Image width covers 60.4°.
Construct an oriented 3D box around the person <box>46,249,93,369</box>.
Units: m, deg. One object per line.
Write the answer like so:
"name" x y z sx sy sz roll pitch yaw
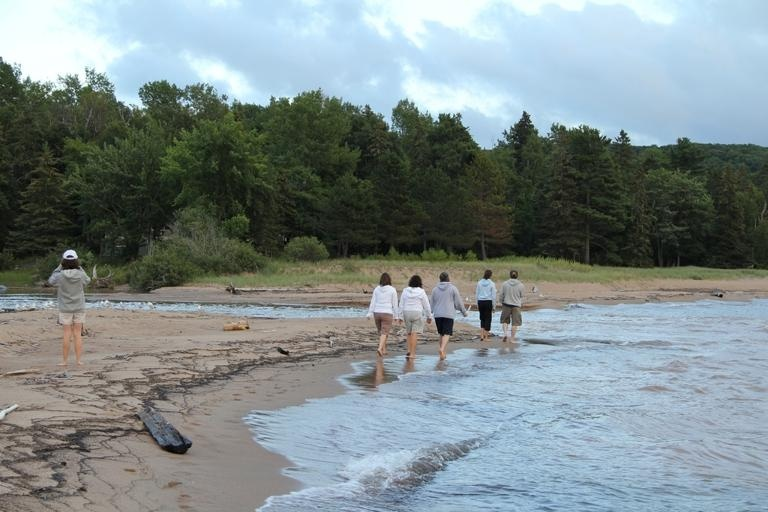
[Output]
"person" -7.537 1.245 15.966 0.787 2.754 1.013 0 9 -23
